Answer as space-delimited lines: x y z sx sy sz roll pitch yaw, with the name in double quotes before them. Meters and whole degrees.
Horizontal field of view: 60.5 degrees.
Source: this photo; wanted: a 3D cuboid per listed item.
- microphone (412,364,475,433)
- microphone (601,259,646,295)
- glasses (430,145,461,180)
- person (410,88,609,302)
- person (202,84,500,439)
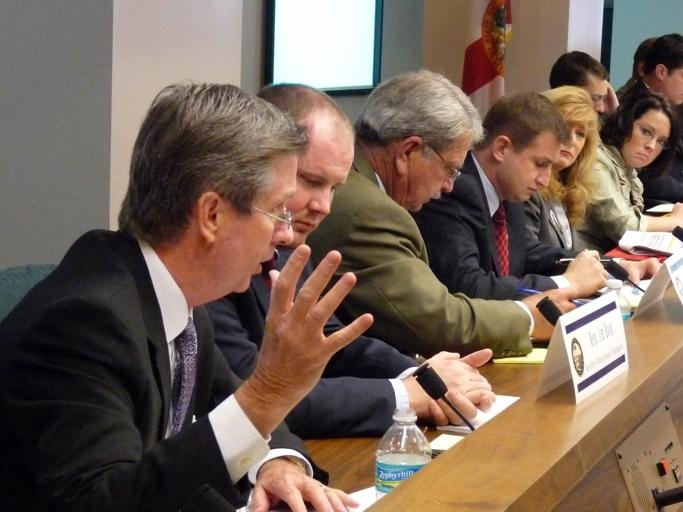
"microphone" 0.223 0.318 1.282 0.040 0.151 0.035 -35 2 41
"microphone" 1.149 0.089 2.382 0.050 0.161 0.037 -50 7 31
"glasses" 0.365 -0.338 2.107 0.036 0.125 0.092 -21 1 31
"person" 0.746 -0.244 2.757 0.824 1.255 0.913 1 6 21
"person" 0.030 -0.081 1.980 0.823 1.580 0.660 -4 8 -2
